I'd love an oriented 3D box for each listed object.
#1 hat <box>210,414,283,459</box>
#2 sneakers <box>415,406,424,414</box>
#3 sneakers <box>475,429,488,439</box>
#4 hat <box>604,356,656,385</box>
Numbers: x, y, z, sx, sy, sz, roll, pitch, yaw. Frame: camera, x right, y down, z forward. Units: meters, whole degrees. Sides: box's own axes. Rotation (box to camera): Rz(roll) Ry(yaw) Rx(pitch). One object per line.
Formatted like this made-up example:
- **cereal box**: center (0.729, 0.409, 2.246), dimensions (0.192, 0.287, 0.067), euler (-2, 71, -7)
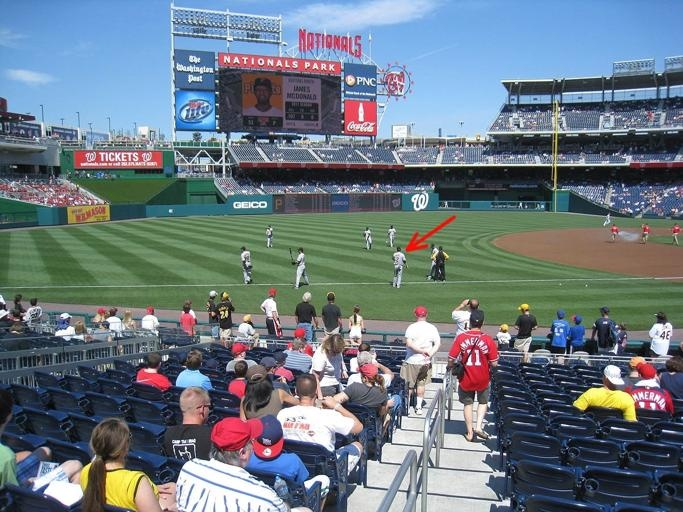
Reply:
- **hat**: center (-1.233, 2.402, 10.752), dimensions (1.015, 0.421, 0.630), euler (-16, 21, -33)
- **sneakers**: center (1.515, 2.926, 15.250), dimensions (0.202, 0.124, 0.324), euler (-1, 3, 3)
- **sneakers**: center (2.502, 3.113, 14.046), dimensions (0.123, 0.083, 0.250), euler (-7, 21, -29)
- **hat**: center (5.037, 2.022, 13.533), dimensions (0.669, 0.285, 0.791), euler (0, 7, 8)
